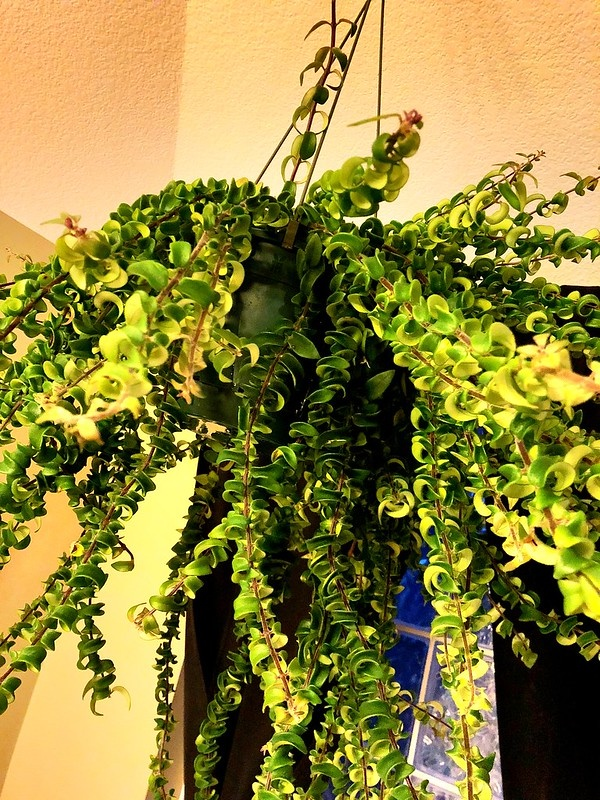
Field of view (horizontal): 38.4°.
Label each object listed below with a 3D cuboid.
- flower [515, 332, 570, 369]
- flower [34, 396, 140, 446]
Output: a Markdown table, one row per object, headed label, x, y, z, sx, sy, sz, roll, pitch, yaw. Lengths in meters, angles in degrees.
| label | x | y | z | sx | sy | sz | roll | pitch | yaw |
| --- | --- | --- | --- | --- | --- | --- | --- | --- | --- |
| flower | 0.178 | -0.037 | 0.627 | 0.045 | 0.036 | 0.012 | 3 | -19 | 16 |
| flower | -0.151 | 0.023 | 0.627 | 0.058 | 0.050 | 0.019 | 12 | -49 | 12 |
